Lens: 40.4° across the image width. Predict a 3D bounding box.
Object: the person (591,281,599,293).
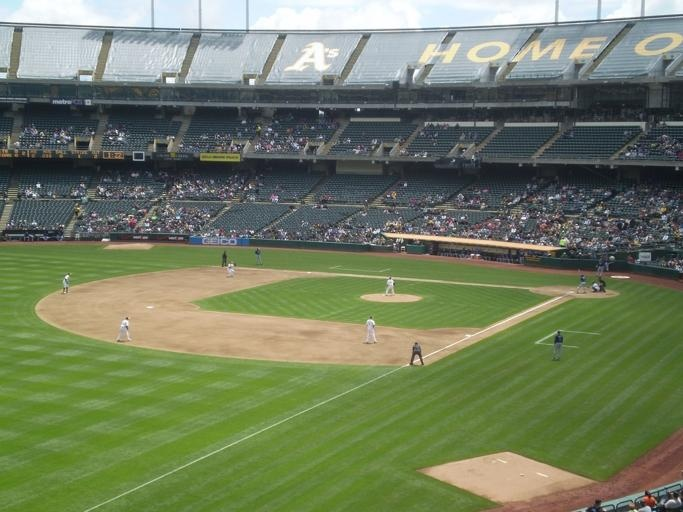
[{"bbox_3d":[18.542,2.278,67.490,0.504,0.727,0.802,9,8,-16],"label":"person"}]
